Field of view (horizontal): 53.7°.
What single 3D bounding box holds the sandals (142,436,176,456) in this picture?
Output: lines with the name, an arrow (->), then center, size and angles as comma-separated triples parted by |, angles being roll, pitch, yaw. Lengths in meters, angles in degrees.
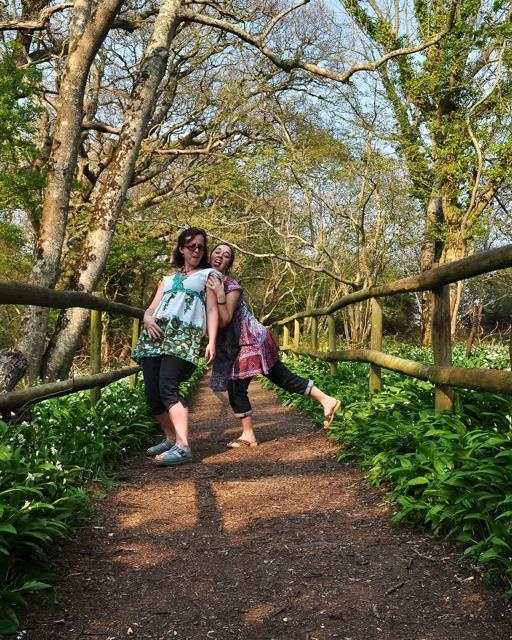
sandals -> -0.714, 0.942, 3.798 | 0.275, 0.099, 0.089 | -9, -4, -29

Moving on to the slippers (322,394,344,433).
slippers -> 0.612, 0.744, 4.024 | 0.127, 0.306, 0.087 | 21, -13, -13

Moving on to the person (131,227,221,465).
person -> -0.568, 0.183, 3.560 | 0.650, 1.556, 0.586 | -7, -1, -6

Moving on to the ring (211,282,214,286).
ring -> -0.321, -0.251, 3.601 | 0.028, 0.026, 0.009 | 3, 3, 22

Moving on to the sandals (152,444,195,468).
sandals -> -0.575, 0.952, 3.500 | 0.256, 0.107, 0.111 | 9, -14, -38
